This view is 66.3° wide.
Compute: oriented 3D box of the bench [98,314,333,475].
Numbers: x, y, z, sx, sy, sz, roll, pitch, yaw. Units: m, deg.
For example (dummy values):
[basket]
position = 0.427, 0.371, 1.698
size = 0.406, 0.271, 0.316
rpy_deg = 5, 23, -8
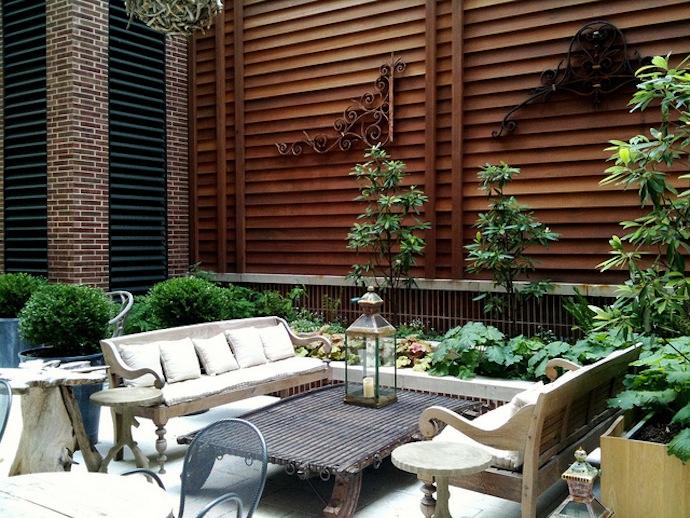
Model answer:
[bench]
position = -1.235, 1.203, 5.430
size = 0.922, 0.899, 2.586
rpy_deg = 9, 4, 33

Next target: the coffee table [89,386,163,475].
[coffee table]
position = -1.739, 1.378, 4.227
size = 0.588, 0.483, 0.496
rpy_deg = -3, -12, -14
